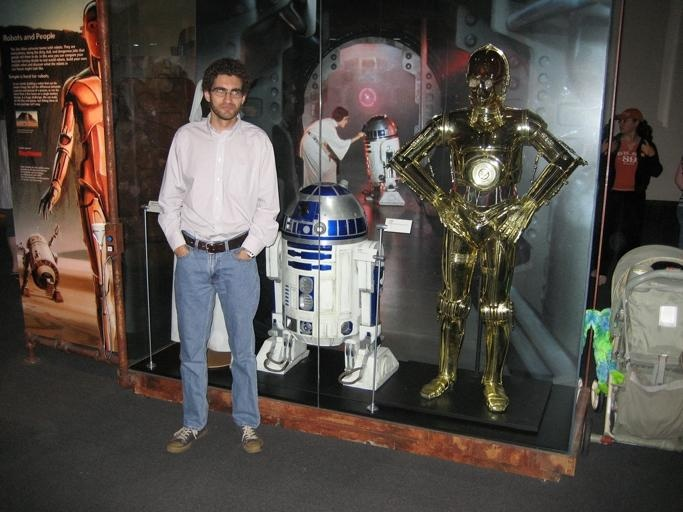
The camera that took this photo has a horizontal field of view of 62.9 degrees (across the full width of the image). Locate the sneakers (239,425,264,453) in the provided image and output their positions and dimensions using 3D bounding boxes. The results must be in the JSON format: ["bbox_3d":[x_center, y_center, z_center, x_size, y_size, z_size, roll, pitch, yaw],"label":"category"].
[{"bbox_3d":[-0.536,1.105,3.334,0.074,0.083,0.207,-1,2,-18],"label":"sneakers"}]

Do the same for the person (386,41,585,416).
[{"bbox_3d":[0.838,-0.147,3.348,1.031,2.115,0.352,5,10,17],"label":"person"}]

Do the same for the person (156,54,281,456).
[{"bbox_3d":[-0.727,0.028,3.254,0.692,2.292,0.361,1,10,-8],"label":"person"}]

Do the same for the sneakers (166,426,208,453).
[{"bbox_3d":[-0.945,1.108,3.387,0.099,0.098,0.259,11,5,17],"label":"sneakers"}]

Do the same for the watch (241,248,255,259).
[{"bbox_3d":[-0.554,-0.007,3.211,0.051,0.071,0.035,13,14,0],"label":"watch"}]
